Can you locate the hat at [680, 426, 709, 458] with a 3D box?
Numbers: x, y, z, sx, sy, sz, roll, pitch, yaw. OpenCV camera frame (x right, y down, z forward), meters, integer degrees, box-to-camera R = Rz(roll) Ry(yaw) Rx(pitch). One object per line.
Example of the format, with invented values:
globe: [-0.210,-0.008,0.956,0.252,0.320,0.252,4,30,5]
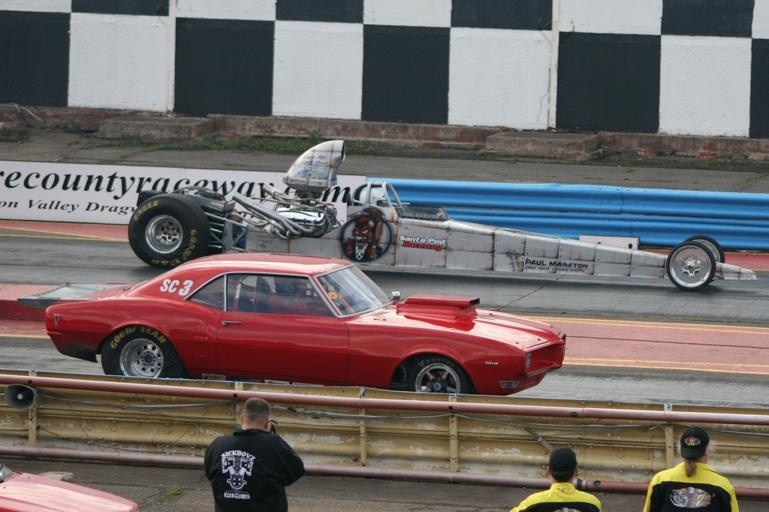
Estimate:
hat: [7.496,4.482,50.430,0.673,0.882,0.476,0,-25,6]
